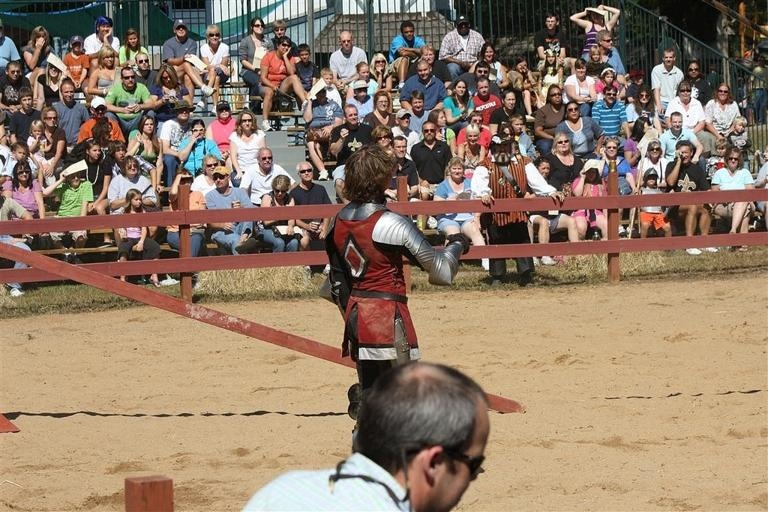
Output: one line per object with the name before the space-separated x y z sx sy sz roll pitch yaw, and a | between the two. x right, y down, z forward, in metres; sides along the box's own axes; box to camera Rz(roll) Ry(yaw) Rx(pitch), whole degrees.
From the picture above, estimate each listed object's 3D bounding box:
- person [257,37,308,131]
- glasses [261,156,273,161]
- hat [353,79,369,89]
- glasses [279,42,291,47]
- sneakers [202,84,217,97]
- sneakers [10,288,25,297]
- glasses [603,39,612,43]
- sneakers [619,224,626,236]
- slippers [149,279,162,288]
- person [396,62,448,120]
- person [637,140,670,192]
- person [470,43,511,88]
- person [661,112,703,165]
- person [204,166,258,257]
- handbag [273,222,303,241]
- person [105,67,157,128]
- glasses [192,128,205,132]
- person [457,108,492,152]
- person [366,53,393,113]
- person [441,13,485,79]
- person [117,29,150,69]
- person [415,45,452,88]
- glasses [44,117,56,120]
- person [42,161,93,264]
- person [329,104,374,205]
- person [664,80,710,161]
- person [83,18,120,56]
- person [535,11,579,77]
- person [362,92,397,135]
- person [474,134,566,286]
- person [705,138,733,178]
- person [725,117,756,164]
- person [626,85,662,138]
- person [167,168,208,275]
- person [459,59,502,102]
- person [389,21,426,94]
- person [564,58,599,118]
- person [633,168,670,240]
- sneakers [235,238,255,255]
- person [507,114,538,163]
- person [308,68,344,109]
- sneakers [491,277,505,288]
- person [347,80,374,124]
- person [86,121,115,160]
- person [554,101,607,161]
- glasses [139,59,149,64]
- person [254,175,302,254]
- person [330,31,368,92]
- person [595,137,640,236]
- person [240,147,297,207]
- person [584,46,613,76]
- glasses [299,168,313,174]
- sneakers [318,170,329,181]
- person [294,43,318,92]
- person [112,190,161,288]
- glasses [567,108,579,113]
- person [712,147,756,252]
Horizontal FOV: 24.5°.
person | -1.955 -3.430 33.974 0.795 1.564 0.535 -2 5 -6
glasses | -2.092 -1.767 31.629 0.216 0.086 0.104 -5 6 -26
hat | -0.449 -3.282 33.596 0.276 0.157 0.286 -2 5 1
glasses | -1.868 -4.060 33.919 0.171 0.073 0.067 -4 6 -25
sneakers | -3.330 -3.204 33.964 0.116 0.133 0.289 -34 28 -31
sneakers | -6.398 0.605 30.993 0.201 0.148 0.416 -1 5 12
glasses | 4.585 -4.401 35.939 0.169 0.093 0.056 -7 7 -43
sneakers | 4.401 -0.508 32.509 0.163 0.209 0.116 5 16 19
slippers | -4.026 0.461 31.123 0.084 0.064 0.231 11 6 -40
person | 0.784 -3.278 33.994 0.963 0.958 0.597 -2 19 1
person | 5.023 -1.709 32.801 0.600 0.881 0.444 2 5 -1
person | 2.118 -3.696 35.056 0.746 1.102 0.592 -5 -4 -13
person | 5.562 -2.217 33.288 0.902 0.996 0.733 -8 -14 20
person | -2.714 -0.833 31.153 0.832 1.528 0.742 -2 5 -5
handbag | -1.660 -0.431 31.039 0.485 0.270 0.146 -2 5 -5
person | -4.804 -2.946 33.203 1.059 1.519 1.042 -3 5 -23
glasses | -3.382 -2.319 32.311 0.220 0.104 0.195 -3 5 -11
person | 1.683 -2.324 32.692 0.783 0.719 0.445 -3 37 -12
person | -0.051 -3.503 35.091 0.586 1.037 1.033 -4 7 -2
person | 1.653 -4.072 35.635 1.056 1.461 0.891 -7 19 -19
person | -4.848 -3.973 34.188 0.647 0.779 0.563 -3 12 -8
person | 0.896 -3.745 34.680 0.901 0.772 0.490 -5 34 11
glasses | -6.086 -2.525 32.239 0.204 0.087 0.070 -3 5 -7
person | -5.580 -0.820 31.455 0.878 1.760 1.206 -3 5 -10
person | -0.580 -1.725 32.379 0.816 2.057 1.189 0 4 11
person | 5.872 -2.626 34.046 0.776 1.486 0.828 -2 6 -11
person | -5.522 -4.271 34.495 0.788 0.873 0.622 -5 14 -29
person | 3.478 -4.379 36.240 0.784 1.296 0.968 -1 5 -10
person | -0.038 -2.751 33.070 0.747 0.677 0.390 -3 6 -16
person | 2.102 -0.818 31.253 1.075 2.621 1.095 -2 5 5
person | 6.336 -1.789 33.404 0.430 1.071 0.300 -5 33 -1
person | 6.919 -2.230 34.223 0.449 0.932 0.469 -3 5 1
person | 5.074 -2.669 34.251 0.690 1.234 0.624 3 -7 17
person | -3.451 -0.671 31.143 0.588 2.049 1.118 2 -20 -16
person | 2.042 -3.454 34.597 0.984 0.704 0.534 3 25 30
person | 0.489 -4.023 35.481 0.773 1.400 1.072 -5 10 -30
person | 3.933 -3.141 34.493 0.616 1.351 0.749 -4 9 -17
person | 4.983 -0.998 32.421 0.574 1.244 0.781 -1 5 8
sneakers | -2.430 -0.209 31.075 0.404 0.187 0.173 -39 31 -1
person | 2.552 -2.150 33.063 0.596 0.959 0.594 -3 -5 4
person | -1.117 -3.201 33.871 0.808 0.853 0.475 2 -5 -33
sneakers | 2.012 0.436 31.385 0.246 0.245 0.130 1 1 43
person | -0.422 -2.875 33.693 0.524 0.884 0.483 3 -17 -7
person | -5.086 -2.071 31.792 0.609 0.888 0.364 6 -14 -31
person | 3.694 -2.385 33.359 0.943 1.084 0.658 -15 16 -4
glasses | -4.493 -3.696 33.439 0.142 0.085 0.298 0 6 20
person | -1.847 -0.772 31.187 0.794 1.323 1.154 -2 5 0
person | -0.745 -3.883 35.156 1.032 1.439 1.039 -1 8 -5
person | 4.302 -1.371 32.655 0.618 1.740 0.999 -11 -12 15
person | -2.111 -1.405 31.853 1.109 1.612 0.524 -1 4 -16
person | 4.271 -3.805 35.305 0.477 0.721 0.375 -1 -8 8
glasses | -1.365 -1.533 31.310 0.244 0.093 0.162 -4 6 -19
sneakers | -1.122 -1.520 32.809 0.174 0.193 0.448 1 4 -1
person | -1.502 -3.625 34.233 0.624 0.940 0.638 2 14 17
person | -4.353 -0.328 31.018 0.826 1.711 1.025 -5 6 -31
glasses | 3.547 -2.752 33.094 0.203 0.097 0.080 2 6 38
person | 6.452 -1.058 32.579 0.782 1.917 1.065 -1 5 12
